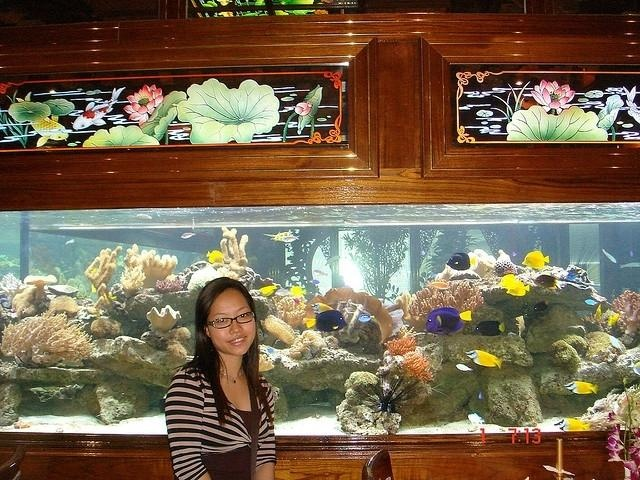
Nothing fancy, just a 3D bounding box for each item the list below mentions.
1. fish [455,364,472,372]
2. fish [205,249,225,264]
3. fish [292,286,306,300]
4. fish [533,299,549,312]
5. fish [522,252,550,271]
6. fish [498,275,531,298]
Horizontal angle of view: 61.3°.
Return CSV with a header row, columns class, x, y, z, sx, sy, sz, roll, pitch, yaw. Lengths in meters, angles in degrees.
class,x,y,z,sx,sy,sz,roll,pitch,yaw
fish,0.875,0.792,3.301,0.087,0.036,0.024,10,-6,0
fish,-0.646,0.106,3.312,0.106,0.088,0.018,-3,13,18
fish,-0.129,0.322,3.303,0.096,0.076,0.062,-8,-25,0
fish,1.362,0.420,3.347,0.110,0.070,0.020,-6,11,2
fish,1.316,0.124,3.290,0.153,0.127,0.014,-7,11,-4
fish,1.200,0.286,3.336,0.176,0.155,0.015,-7,11,-5
